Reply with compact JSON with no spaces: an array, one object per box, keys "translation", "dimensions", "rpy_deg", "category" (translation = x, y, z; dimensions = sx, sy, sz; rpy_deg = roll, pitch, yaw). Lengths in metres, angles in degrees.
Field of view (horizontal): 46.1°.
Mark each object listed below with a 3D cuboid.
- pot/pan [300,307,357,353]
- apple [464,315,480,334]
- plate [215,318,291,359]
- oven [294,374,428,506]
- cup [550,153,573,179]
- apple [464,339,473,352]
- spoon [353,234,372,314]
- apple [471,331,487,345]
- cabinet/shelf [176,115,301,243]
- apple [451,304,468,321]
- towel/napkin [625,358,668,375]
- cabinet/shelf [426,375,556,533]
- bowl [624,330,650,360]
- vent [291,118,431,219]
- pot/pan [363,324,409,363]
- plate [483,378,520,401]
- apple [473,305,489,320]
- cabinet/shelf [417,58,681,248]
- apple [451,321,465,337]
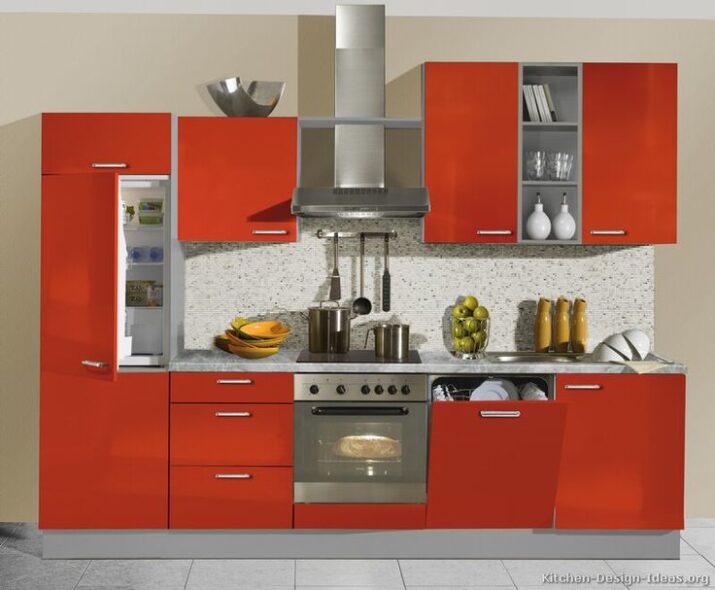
[{"translation":[-0.197,0.193,5.106],"dimensions":[0.326,0.269,0.277],"rpy_deg":[2,4,-5],"category":"pot/pan"},{"translation":[0.653,0.176,4.897],"dimensions":[0.086,0.085,0.083],"rpy_deg":[0,-1,0],"category":"apple"},{"translation":[-0.637,0.249,5.055],"dimensions":[0.457,0.187,0.506],"rpy_deg":[-2,6,-7],"category":"plate"},{"translation":[0.007,0.725,4.989],"dimensions":[1.056,0.853,0.681],"rpy_deg":[0,-3,0],"category":"oven"},{"translation":[1.193,-0.757,4.942],"dimensions":[0.174,0.145,0.151],"rpy_deg":[-1,4,-20],"category":"cup"},{"translation":[0.649,0.282,4.927],"dimensions":[0.049,0.076,0.016],"rpy_deg":[-2,6,-2],"category":"apple"},{"translation":[0.009,-0.130,5.201],"dimensions":[0.115,0.514,0.166],"rpy_deg":[-1,6,13],"category":"spoon"},{"translation":[0.712,0.247,4.921],"dimensions":[0.090,0.073,0.027],"rpy_deg":[-4,6,-21],"category":"apple"},{"translation":[-0.710,-0.691,4.889],"dimensions":[0.853,0.730,0.441],"rpy_deg":[0,2,2],"category":"cabinet/shelf"},{"translation":[0.604,0.096,4.994],"dimensions":[0.087,0.084,0.084],"rpy_deg":[1,0,-5],"category":"apple"},{"translation":[1.609,0.401,4.749],"dimensions":[0.229,0.063,0.156],"rpy_deg":[-2,6,-7],"category":"towel/napkin"},{"translation":[0.647,0.871,4.981],"dimensions":[1.001,0.816,0.707],"rpy_deg":[0,2,1],"category":"cabinet/shelf"},{"translation":[1.602,0.277,4.803],"dimensions":[0.174,0.150,0.050],"rpy_deg":[-23,-4,27],"category":"bowl"},{"translation":[0.016,-0.788,5.081],"dimensions":[0.861,0.525,0.430],"rpy_deg":[0,10,0],"category":"vent"},{"translation":[0.169,0.277,4.976],"dimensions":[0.286,0.184,0.209],"rpy_deg":[-1,1,-20],"category":"pot/pan"},{"translation":[0.832,0.532,4.841],"dimensions":[0.143,0.121,0.099],"rpy_deg":[12,23,27],"category":"plate"},{"translation":[0.720,0.101,4.909],"dimensions":[0.077,0.078,0.073],"rpy_deg":[-17,-9,32],"category":"apple"},{"translation":[1.242,-0.876,5.181],"dimensions":[1.603,1.033,0.521],"rpy_deg":[6,15,33],"category":"cabinet/shelf"},{"translation":[0.591,0.197,4.940],"dimensions":[0.097,0.091,0.081],"rpy_deg":[0,1,8],"category":"apple"}]
